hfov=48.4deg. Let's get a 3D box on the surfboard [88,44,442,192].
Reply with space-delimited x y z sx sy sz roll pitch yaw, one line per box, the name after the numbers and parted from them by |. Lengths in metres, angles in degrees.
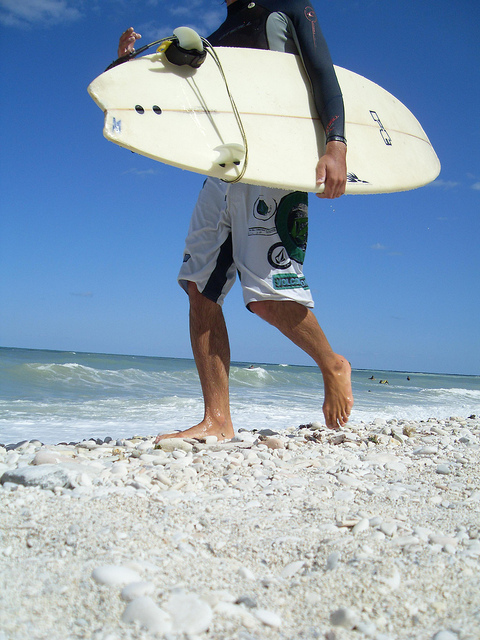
0.351 -0.686 2.552 2.051 0.745 0.292 3 -21 -22 | surfboard
